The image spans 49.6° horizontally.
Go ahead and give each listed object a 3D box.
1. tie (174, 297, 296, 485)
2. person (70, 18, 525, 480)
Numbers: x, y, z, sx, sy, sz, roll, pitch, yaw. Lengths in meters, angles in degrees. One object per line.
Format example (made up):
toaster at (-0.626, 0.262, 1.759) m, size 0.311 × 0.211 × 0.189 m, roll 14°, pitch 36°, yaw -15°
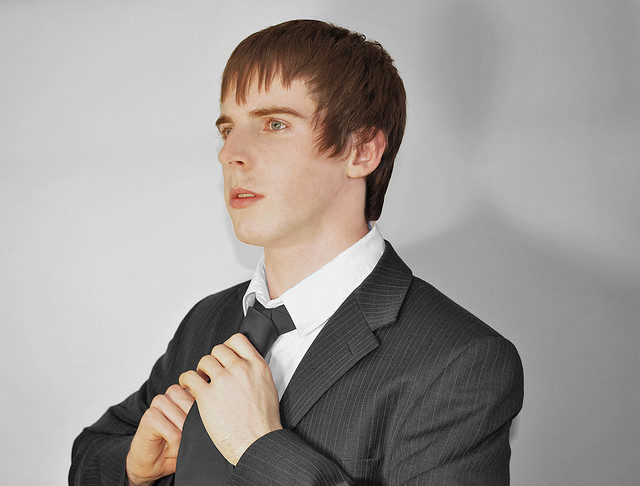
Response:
tie at (-0.293, 0.584, 2.295) m, size 0.215 × 0.958 × 0.248 m, roll 14°, pitch -11°, yaw -17°
person at (-0.114, 0.013, 2.436) m, size 1.328 × 1.647 × 0.638 m, roll -15°, pitch -23°, yaw 28°
